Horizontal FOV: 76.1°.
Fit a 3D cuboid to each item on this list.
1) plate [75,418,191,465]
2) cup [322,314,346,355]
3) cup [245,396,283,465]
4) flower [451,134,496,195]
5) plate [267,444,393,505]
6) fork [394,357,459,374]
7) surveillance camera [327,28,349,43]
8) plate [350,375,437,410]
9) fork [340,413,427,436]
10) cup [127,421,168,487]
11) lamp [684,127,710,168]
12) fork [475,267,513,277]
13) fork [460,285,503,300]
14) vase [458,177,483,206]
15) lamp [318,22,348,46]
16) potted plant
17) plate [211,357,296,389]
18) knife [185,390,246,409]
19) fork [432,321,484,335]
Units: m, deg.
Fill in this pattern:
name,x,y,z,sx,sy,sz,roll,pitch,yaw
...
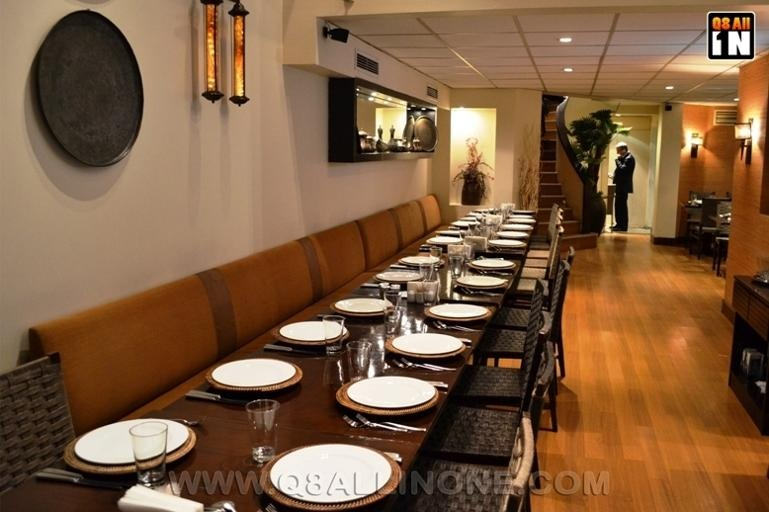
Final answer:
name,x,y,z,sx,sy,sz,roll,pitch,yaw
plate,-0.982,0.690,1.845,0.225,0.031,0.219,-2,15,-37
cup,-0.257,0.382,2.536,0.103,0.200,0.231,-1,13,-6
cup,-0.420,0.611,1.759,0.138,0.213,0.121,-11,17,-39
flower,1.739,-1.732,9.448,1.057,1.547,0.405,-1,-8,2
plate,-0.177,0.728,1.655,0.410,0.056,0.236,0,13,-2
fork,0.196,0.524,2.354,0.219,0.035,0.033,5,36,9
surveillance camera,-0.459,-2.069,4.675,0.195,0.138,0.051,7,0,-20
plate,0.031,0.573,2.072,0.378,0.033,0.228,0,13,-3
fork,-0.003,0.652,1.926,0.338,0.028,0.080,2,13,8
cup,-0.758,0.644,1.598,0.101,0.226,0.065,-8,15,-29
lamp,7.329,-2.629,11.594,0.581,0.728,0.236,-2,13,-10
fork,0.858,0.125,3.870,0.223,0.042,0.039,7,12,12
fork,0.661,0.249,3.355,0.209,0.041,0.037,9,44,9
vase,1.663,-1.215,9.298,0.437,0.524,0.467,0,1,-12
lamp,-0.463,-2.088,4.611,0.193,0.128,0.188,13,16,19
potted plant,4.890,-2.011,11.467,1.176,2.722,2.473,7,15,27
plate,-0.601,0.533,2.264,0.398,0.025,0.237,0,13,-2
knife,-0.722,0.617,2.105,0.197,0.017,0.046,5,16,17
fork,0.406,0.407,2.787,0.196,0.031,0.029,10,39,14
